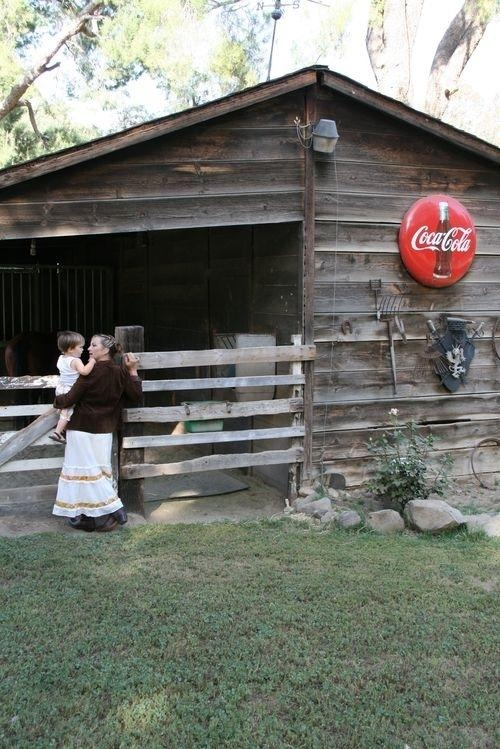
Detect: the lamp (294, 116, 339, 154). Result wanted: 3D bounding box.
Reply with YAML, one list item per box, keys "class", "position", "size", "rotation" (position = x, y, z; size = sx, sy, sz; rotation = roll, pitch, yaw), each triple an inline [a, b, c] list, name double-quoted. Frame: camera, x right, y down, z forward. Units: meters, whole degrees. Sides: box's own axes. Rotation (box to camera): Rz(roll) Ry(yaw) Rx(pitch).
- class: "lamp"
  position: [0.598, -2.191, 5.476]
  size: [0.436, 0.290, 0.261]
  rotation: [6, 28, -3]

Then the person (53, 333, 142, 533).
- class: "person"
  position: [-1.155, 0.460, 4.611]
  size: [0.635, 1.513, 0.305]
  rotation: [0, 4, -43]

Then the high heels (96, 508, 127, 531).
- class: "high heels"
  position: [-1.067, 1.137, 4.588]
  size: [0.105, 0.113, 0.279]
  rotation: [1, -7, -42]

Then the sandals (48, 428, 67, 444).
- class: "sandals"
  position: [-1.485, 0.475, 4.611]
  size: [0.136, 0.096, 0.253]
  rotation: [3, 2, -18]

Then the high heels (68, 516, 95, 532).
- class: "high heels"
  position: [-1.288, 1.158, 4.604]
  size: [0.130, 0.083, 0.169]
  rotation: [6, -10, -10]
